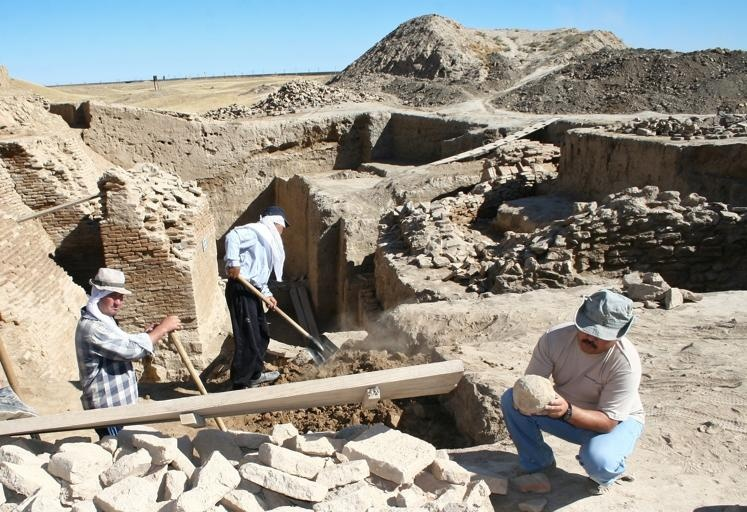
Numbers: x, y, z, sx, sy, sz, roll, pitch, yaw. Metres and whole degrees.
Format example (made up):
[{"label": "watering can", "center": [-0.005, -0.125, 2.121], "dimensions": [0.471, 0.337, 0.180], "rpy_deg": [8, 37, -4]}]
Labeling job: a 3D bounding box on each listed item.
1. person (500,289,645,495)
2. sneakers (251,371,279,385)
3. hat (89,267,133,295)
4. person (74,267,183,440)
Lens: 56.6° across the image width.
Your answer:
[{"label": "person", "center": [1.577, 1.047, 5.413], "dimensions": [1.010, 1.594, 0.475], "rpy_deg": [5, 13, 14]}, {"label": "sneakers", "center": [-1.222, 1.399, 8.024], "dimensions": [0.376, 0.090, 0.110], "rpy_deg": [-9, 21, -13]}, {"label": "hat", "center": [-2.341, 0.210, 6.044], "dimensions": [0.399, 0.106, 0.257], "rpy_deg": [9, 11, 11]}, {"label": "person", "center": [-2.178, 0.721, 6.051], "dimensions": [0.763, 1.246, 0.401], "rpy_deg": [-2, 13, -17]}]
